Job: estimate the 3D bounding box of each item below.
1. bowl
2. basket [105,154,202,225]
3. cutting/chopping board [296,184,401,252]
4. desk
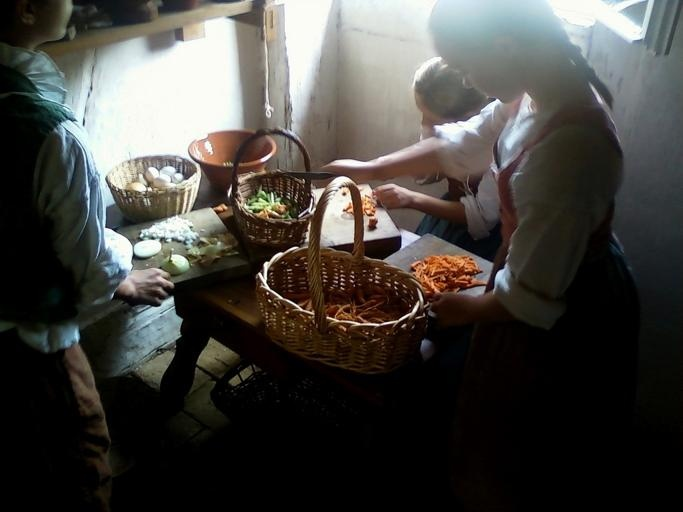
[{"bbox_3d":[-0.526,-0.500,2.350,0.350,0.151,0.358,0,42,0],"label":"bowl"},{"bbox_3d":[-0.812,-0.310,2.192,0.324,0.158,0.354,-2,36,-9],"label":"basket"},{"bbox_3d":[0.076,-0.132,2.095,0.301,0.076,0.331,2,34,3],"label":"cutting/chopping board"},{"bbox_3d":[-0.395,0.448,1.975,0.709,0.527,0.492,17,70,-4],"label":"desk"}]
